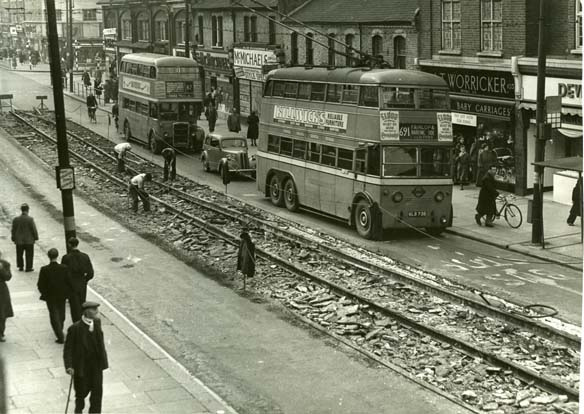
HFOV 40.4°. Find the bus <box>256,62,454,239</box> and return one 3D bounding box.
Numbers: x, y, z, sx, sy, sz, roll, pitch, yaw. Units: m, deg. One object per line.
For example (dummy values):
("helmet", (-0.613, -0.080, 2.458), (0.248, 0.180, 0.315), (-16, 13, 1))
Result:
("bus", (2.498, -2.111, 31.057), (2.300, 4.089, 6.149), (-8, 14, -29))

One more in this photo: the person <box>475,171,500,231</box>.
("person", (7.693, -0.320, 31.479), (0.849, 2.297, 1.071), (-2, 21, -6))

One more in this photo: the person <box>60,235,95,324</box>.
("person", (-5.698, 1.917, 21.116), (0.817, 2.358, 0.707), (-1, 19, -10))
